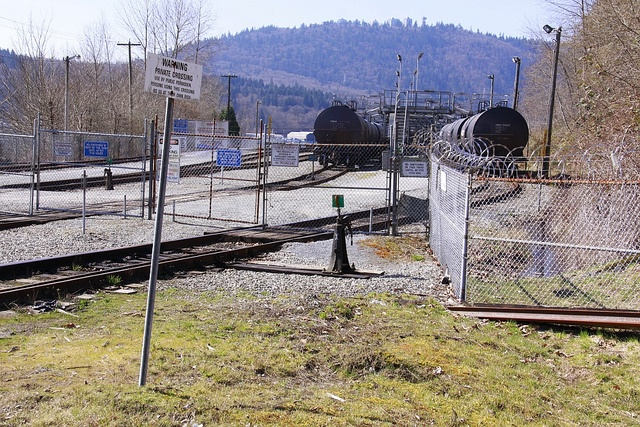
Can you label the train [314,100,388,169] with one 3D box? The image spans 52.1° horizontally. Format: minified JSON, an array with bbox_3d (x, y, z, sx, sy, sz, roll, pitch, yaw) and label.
[{"bbox_3d":[1.538,-4.575,38.540,1.898,3.525,9.167,1,6,8],"label":"train"}]
